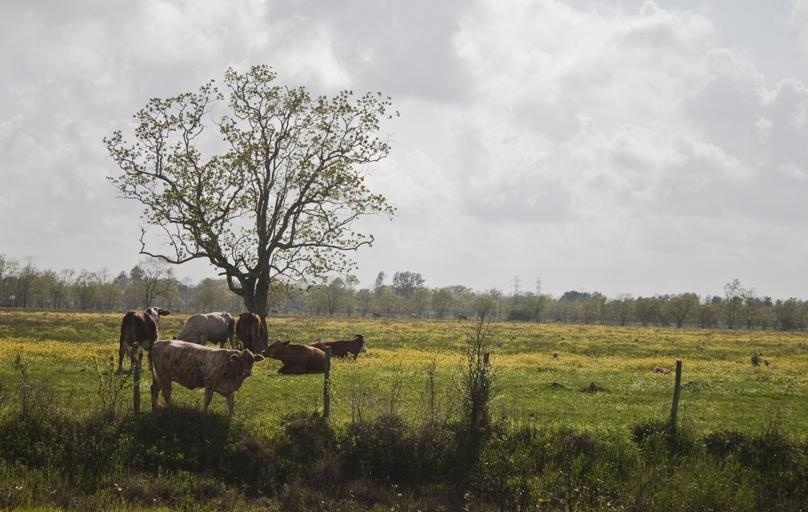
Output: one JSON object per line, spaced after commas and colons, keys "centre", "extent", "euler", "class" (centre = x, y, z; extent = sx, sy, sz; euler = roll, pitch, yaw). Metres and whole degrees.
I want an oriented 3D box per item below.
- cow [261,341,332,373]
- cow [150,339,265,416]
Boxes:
{"centre": [-8.103, 8.087, 64.410], "extent": [4.070, 3.171, 4.650], "euler": [-4, -6, 40], "class": "cow"}
{"centre": [-12.988, 7.959, 55.911], "extent": [6.792, 4.792, 2.502], "euler": [4, 10, 1], "class": "cow"}
